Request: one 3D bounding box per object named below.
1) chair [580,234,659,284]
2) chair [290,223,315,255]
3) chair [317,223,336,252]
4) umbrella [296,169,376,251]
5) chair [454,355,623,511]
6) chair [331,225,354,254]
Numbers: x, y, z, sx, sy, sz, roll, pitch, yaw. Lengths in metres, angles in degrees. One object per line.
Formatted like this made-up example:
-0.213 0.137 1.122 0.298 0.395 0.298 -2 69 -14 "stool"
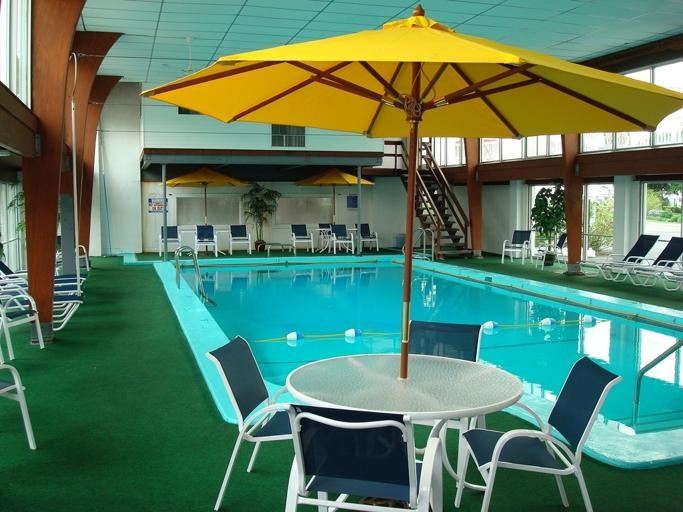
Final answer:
7.066 0.051 12.663 1.954 1.266 1.061 0 1 -16 "chair"
-1.584 -0.737 20.113 1.079 1.490 1.131 -1 4 -16 "chair"
-0.664 -0.778 20.475 0.990 1.136 0.992 0 0 -3 "chair"
-0.345 -1.815 20.435 3.300 2.914 3.275 0 1 0 "umbrella"
1.337 1.034 3.537 1.040 1.327 0.881 3 0 0 "chair"
-0.100 -0.653 20.095 1.002 1.549 1.127 0 -1 -12 "chair"
